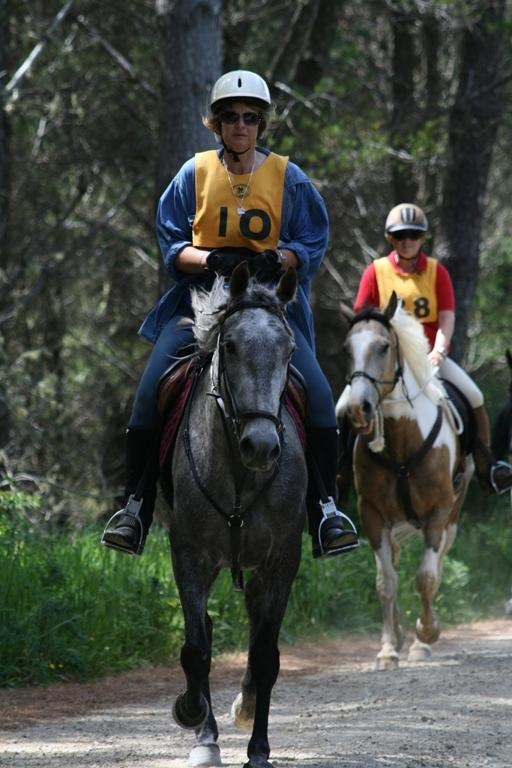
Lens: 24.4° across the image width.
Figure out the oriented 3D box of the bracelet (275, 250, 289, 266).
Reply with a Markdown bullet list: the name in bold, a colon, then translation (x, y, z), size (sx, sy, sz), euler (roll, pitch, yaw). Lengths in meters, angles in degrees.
- **bracelet**: translation (0.148, -0.779, 7.218), size (0.101, 0.038, 0.109), euler (21, -18, -22)

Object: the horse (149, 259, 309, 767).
- **horse**: translation (-0.106, 0.725, 6.731), size (0.842, 2.910, 1.589), euler (-3, -3, -7)

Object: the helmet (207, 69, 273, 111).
- **helmet**: translation (-0.113, -1.894, 7.514), size (0.387, 0.266, 0.249), euler (-2, -3, -2)

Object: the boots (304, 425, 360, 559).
- **boots**: translation (0.458, 0.674, 7.423), size (0.303, 0.813, 0.511), euler (-3, -3, 2)

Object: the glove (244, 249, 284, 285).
- **glove**: translation (0.051, -0.695, 7.082), size (0.197, 0.231, 0.093), euler (-16, 35, -7)

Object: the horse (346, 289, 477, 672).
- **horse**: translation (1.276, 0.812, 10.014), size (0.892, 3.046, 1.943), euler (-4, -3, 15)

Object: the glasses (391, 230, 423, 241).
- **glasses**: translation (1.312, -1.300, 10.376), size (0.297, 0.085, 0.163), euler (-2, -3, 5)

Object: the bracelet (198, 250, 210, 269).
- **bracelet**: translation (-0.306, -0.763, 7.174), size (0.041, 0.095, 0.075), euler (7, 6, -25)

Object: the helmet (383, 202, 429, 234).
- **helmet**: translation (1.294, -1.466, 10.409), size (0.361, 0.289, 0.264), euler (-3, -3, 16)
